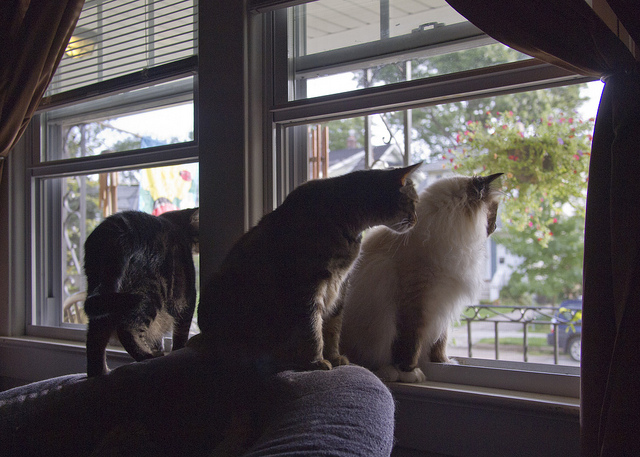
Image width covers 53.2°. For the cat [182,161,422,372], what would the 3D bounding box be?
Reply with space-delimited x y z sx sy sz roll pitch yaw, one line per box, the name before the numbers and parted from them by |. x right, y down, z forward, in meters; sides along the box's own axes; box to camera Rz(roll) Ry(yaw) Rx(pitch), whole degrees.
cat | -0.071 0.130 2.346 0.838 0.750 0.230 2 -2 8
